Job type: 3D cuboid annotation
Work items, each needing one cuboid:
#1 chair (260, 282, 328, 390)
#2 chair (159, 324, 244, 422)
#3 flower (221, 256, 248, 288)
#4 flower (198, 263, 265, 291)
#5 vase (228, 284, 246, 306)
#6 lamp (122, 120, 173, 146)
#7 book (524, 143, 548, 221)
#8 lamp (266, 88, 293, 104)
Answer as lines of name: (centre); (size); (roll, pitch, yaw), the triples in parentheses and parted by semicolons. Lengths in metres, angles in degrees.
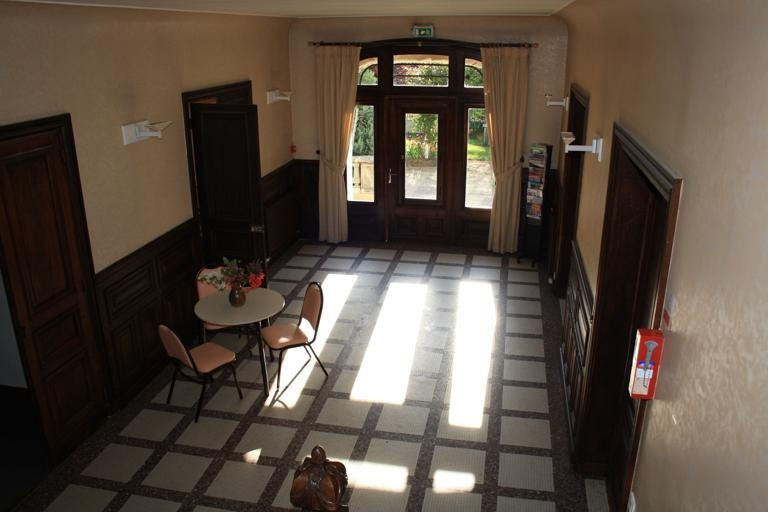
chair: (-1.145, 0.949, 6.326); (0.711, 1.193, 0.667); (-6, 19, -27)
chair: (-2.141, 1.215, 5.870); (0.633, 1.162, 0.781); (14, 22, 30)
flower: (-1.820, 0.210, 6.103); (0.290, 0.463, 0.443); (10, -8, -9)
flower: (-1.780, 0.218, 6.298); (0.458, 0.307, 0.666); (-2, 13, 13)
vase: (-1.748, 0.466, 6.055); (0.226, 0.351, 0.233); (0, 8, -16)
lamp: (-2.875, -1.503, 6.068); (0.520, 0.259, 0.461); (-11, 25, -26)
book: (2.715, -1.306, 8.933); (0.367, 1.313, 0.233); (11, 23, 25)
lamp: (-1.902, -2.986, 9.381); (0.349, 0.259, 0.855); (2, 23, 2)
